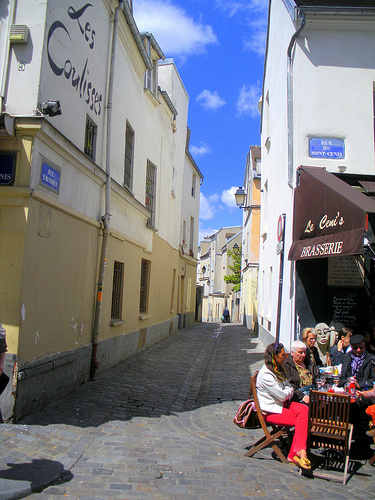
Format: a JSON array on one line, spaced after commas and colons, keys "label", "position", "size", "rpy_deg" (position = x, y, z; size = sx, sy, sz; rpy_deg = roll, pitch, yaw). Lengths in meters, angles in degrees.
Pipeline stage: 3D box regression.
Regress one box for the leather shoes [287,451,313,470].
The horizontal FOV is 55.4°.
[{"label": "leather shoes", "position": [1.062, 1.964, 3.347], "size": [0.089, 0.135, 0.303], "rpy_deg": [25, -24, 0]}]
